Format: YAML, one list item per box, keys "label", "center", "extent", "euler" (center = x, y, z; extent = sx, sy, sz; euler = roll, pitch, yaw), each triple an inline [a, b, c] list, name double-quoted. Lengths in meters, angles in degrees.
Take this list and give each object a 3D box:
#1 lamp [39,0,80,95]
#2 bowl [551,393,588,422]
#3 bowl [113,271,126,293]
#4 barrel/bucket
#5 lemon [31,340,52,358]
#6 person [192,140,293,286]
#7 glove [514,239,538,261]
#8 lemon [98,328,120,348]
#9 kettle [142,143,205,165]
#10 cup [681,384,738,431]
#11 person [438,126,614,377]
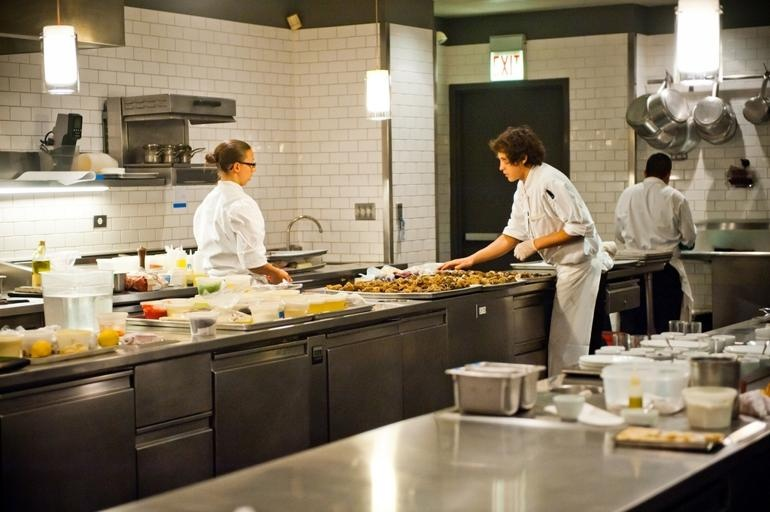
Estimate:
- label: "lamp"
  center: [-2.263, -1.374, 4.370]
  extent: [0.232, 0.461, 0.182]
  euler: [-5, 11, -22]
- label: "bowl"
  center: [0.656, 0.539, 2.257]
  extent: [0.101, 0.066, 0.095]
  euler: [0, -4, 0]
- label: "bowl"
  center: [-1.904, 0.193, 4.508]
  extent: [0.072, 0.152, 0.087]
  euler: [9, 14, 44]
- label: "barrel/bucket"
  center: [-1.596, 0.213, 3.195]
  extent: [0.346, 0.398, 0.363]
  euler: [-1, -2, 0]
- label: "lemon"
  center: [-1.475, 0.400, 2.703]
  extent: [0.076, 0.065, 0.070]
  euler: [-10, -37, -15]
- label: "person"
  center: [-1.139, -0.336, 4.835]
  extent: [0.841, 1.093, 0.369]
  euler: [6, 12, 34]
- label: "glove"
  center: [1.144, -0.064, 5.158]
  extent: [0.220, 0.150, 0.071]
  euler: [-24, 15, -13]
- label: "lemon"
  center: [-1.275, 0.380, 2.932]
  extent: [0.093, 0.080, 0.082]
  euler: [-1, 2, 3]
- label: "kettle"
  center: [-2.033, -0.955, 5.936]
  extent: [0.455, 0.144, 0.255]
  euler: [1, 0, 3]
- label: "cup"
  center: [1.140, 0.547, 2.262]
  extent: [0.212, 0.129, 0.206]
  euler: [0, -7, 0]
- label: "person"
  center: [1.307, -0.039, 5.271]
  extent: [0.903, 2.058, 0.566]
  euler: [5, 11, 26]
